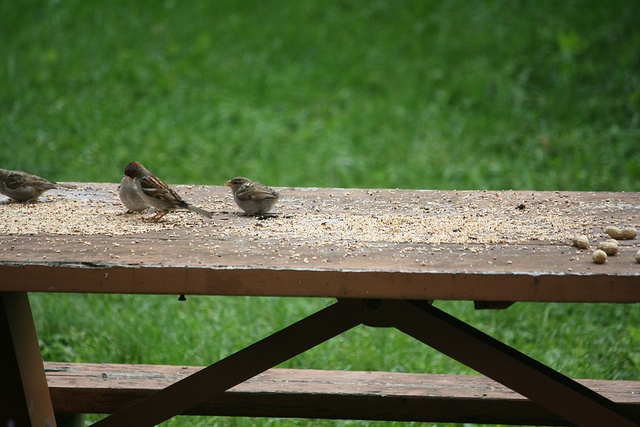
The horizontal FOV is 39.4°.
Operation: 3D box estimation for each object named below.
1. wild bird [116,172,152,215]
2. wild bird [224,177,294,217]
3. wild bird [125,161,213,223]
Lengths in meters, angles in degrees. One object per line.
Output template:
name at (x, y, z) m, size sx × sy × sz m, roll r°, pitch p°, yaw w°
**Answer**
wild bird at (-1.674, -0.226, 8.100) m, size 0.326 × 0.393 × 0.452 m, roll 2°, pitch 101°, yaw -2°
wild bird at (-0.592, -0.154, 8.093) m, size 0.556 × 0.291 × 0.363 m, roll -1°, pitch 84°, yaw 18°
wild bird at (-1.359, -0.185, 7.979) m, size 0.855 × 0.231 × 0.462 m, roll 6°, pitch 89°, yaw 2°
